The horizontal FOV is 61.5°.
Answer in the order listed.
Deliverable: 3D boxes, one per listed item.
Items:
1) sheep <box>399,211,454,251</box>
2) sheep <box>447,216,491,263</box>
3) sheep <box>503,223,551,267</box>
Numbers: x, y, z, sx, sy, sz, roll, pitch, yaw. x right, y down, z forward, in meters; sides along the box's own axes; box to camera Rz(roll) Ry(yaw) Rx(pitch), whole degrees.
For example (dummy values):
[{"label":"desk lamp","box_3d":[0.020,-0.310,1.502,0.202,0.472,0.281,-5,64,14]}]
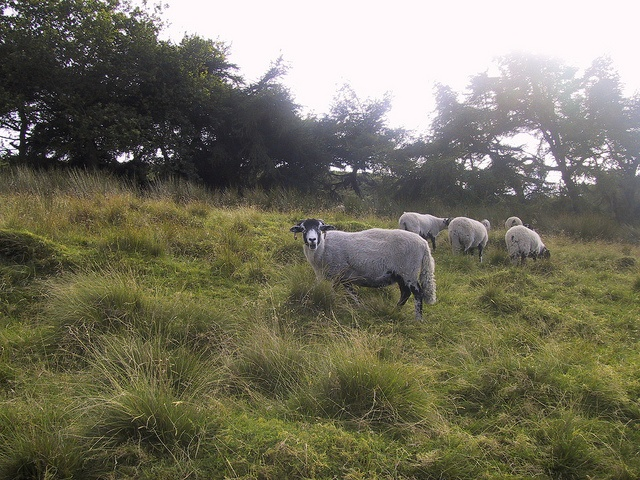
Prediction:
[{"label":"sheep","box_3d":[3.648,-0.245,18.509,2.202,1.224,0.536,-1,10,-29]},{"label":"sheep","box_3d":[4.983,0.017,17.634,0.889,1.406,2.125,-3,-7,39]},{"label":"sheep","box_3d":[6.385,0.158,16.558,1.909,1.131,0.939,2,3,-35]}]
